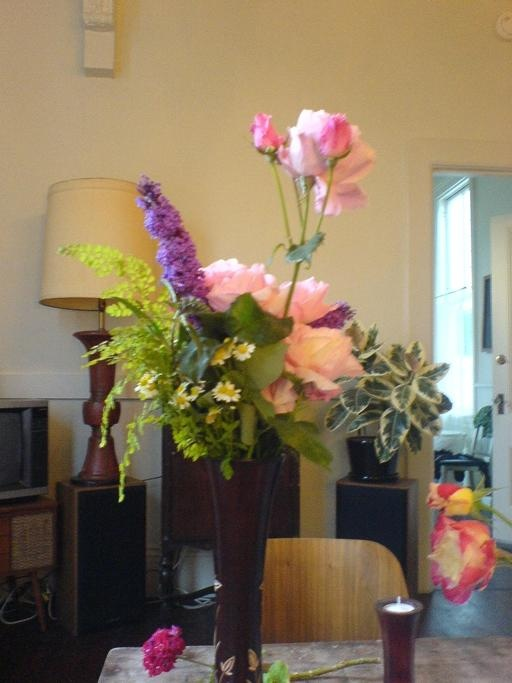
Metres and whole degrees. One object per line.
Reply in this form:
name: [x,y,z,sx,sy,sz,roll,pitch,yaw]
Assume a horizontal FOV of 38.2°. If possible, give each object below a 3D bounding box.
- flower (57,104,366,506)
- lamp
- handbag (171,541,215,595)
flower: [-0.034,-0.013,0.940,0.449,0.465,0.319,-9,6,-32]
lamp: [-0.541,-0.006,2.661,0.487,1.011,0.441,2,-2,-38]
handbag: [-0.258,0.855,2.916,0.157,0.126,0.219,10,-28,-15]
